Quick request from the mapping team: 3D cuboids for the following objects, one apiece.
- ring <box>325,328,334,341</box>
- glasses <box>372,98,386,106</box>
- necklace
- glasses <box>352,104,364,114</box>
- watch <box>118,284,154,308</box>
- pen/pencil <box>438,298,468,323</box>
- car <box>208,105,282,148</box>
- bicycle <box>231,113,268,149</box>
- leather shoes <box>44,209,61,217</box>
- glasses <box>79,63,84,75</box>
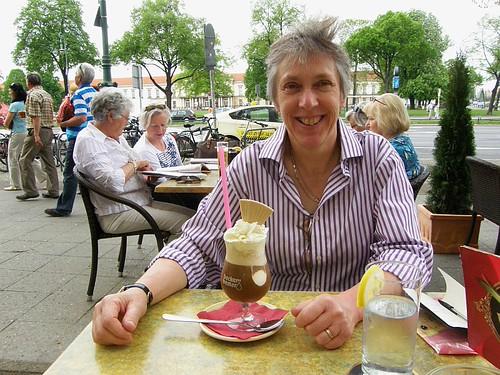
[{"bbox_3d":[0.248,0.458,1.253,0.028,0.028,0.027,-10,57,17],"label":"ring"},{"bbox_3d":[1.397,-0.929,4.318,0.097,0.027,0.093,17,5,-11],"label":"glasses"},{"bbox_3d":[0.270,-0.066,1.934,0.146,0.249,0.055,-22,-16,21],"label":"necklace"},{"bbox_3d":[1.479,-1.080,5.474,0.208,0.073,0.279,-5,24,12],"label":"glasses"},{"bbox_3d":[-0.419,0.381,1.459,0.093,0.034,0.093,32,27,16],"label":"watch"},{"bbox_3d":[0.708,0.423,1.414,0.024,0.025,0.170,-17,13,-9],"label":"pen/pencil"},{"bbox_3d":[-0.652,-1.933,11.987,2.882,1.230,1.657,5,9,7],"label":"car"},{"bbox_3d":[-0.272,-1.595,11.268,1.541,0.821,0.961,1,7,17],"label":"bicycle"},{"bbox_3d":[-2.999,0.360,6.048,0.306,0.122,0.115,5,14,25],"label":"leather shoes"},{"bbox_3d":[-2.532,-1.811,6.074,0.104,0.124,0.132,7,-24,-24],"label":"glasses"}]
